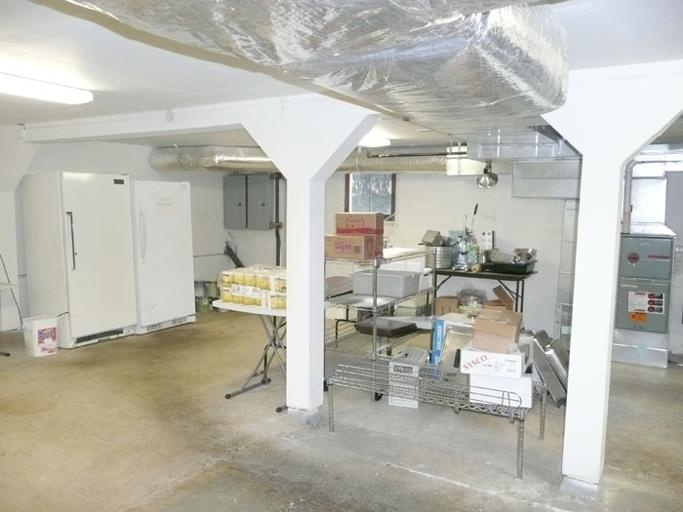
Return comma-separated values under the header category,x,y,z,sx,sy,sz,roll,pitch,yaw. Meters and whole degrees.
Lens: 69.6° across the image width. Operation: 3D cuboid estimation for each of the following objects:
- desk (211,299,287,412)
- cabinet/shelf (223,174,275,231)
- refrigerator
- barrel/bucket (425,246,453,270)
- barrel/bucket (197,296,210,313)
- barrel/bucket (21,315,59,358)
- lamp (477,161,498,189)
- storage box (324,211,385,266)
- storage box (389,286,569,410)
category,x,y,z,sx,sy,sz,roll,pitch,yaw
desk,-1.113,1.234,5.949,0.659,0.701,1.165,4,3,28
cabinet/shelf,-1.753,-1.064,9.545,1.198,1.037,0.417,1,2,27
refrigerator,-3.433,0.088,7.071,1.431,2.455,2.660,4,6,39
barrel/bucket,1.497,0.043,7.498,0.361,0.254,0.346,-1,1,0
barrel/bucket,-2.543,0.890,9.009,0.279,0.232,0.270,1,6,0
barrel/bucket,-3.999,1.073,6.538,0.527,0.502,0.300,-3,8,-44
lamp,2.056,-1.116,6.907,0.314,0.207,0.402,4,35,16
storage box,0.173,-0.180,5.577,0.615,0.514,0.581,1,0,29
storage box,1.199,0.986,4.457,1.412,0.650,1.391,2,8,27
